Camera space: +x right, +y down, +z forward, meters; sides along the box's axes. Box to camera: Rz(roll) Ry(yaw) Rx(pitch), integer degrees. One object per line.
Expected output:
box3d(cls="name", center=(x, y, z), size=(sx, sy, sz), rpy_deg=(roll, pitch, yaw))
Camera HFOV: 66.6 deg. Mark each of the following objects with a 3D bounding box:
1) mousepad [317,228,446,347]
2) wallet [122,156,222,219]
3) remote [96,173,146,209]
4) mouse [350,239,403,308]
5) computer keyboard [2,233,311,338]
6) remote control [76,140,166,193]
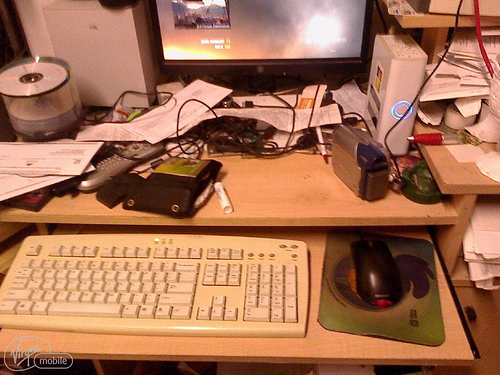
box3d(cls="mousepad", center=(0.284, 0.225, 0.817), size=(0.251, 0.043, 0.295), rpy_deg=(3, 46, 7))
box3d(cls="wallet", center=(-0.182, -0.042, 0.879), size=(0.154, 0.050, 0.168), rpy_deg=(11, 53, 17))
box3d(cls="remote", center=(-0.320, 0.006, 0.931), size=(0.072, 0.022, 0.094), rpy_deg=(33, 55, 26))
box3d(cls="mouse", center=(0.281, 0.176, 0.838), size=(0.101, 0.048, 0.166), rpy_deg=(-1, 46, 0))
box3d(cls="computer keyboard", center=(-0.213, 0.213, 0.855), size=(0.697, 0.081, 0.225), rpy_deg=(2, 46, 2))
box3d(cls="remote control", center=(-0.351, -0.061, 1.085), size=(0.272, 0.124, 0.180), rpy_deg=(-4, 32, -5))
